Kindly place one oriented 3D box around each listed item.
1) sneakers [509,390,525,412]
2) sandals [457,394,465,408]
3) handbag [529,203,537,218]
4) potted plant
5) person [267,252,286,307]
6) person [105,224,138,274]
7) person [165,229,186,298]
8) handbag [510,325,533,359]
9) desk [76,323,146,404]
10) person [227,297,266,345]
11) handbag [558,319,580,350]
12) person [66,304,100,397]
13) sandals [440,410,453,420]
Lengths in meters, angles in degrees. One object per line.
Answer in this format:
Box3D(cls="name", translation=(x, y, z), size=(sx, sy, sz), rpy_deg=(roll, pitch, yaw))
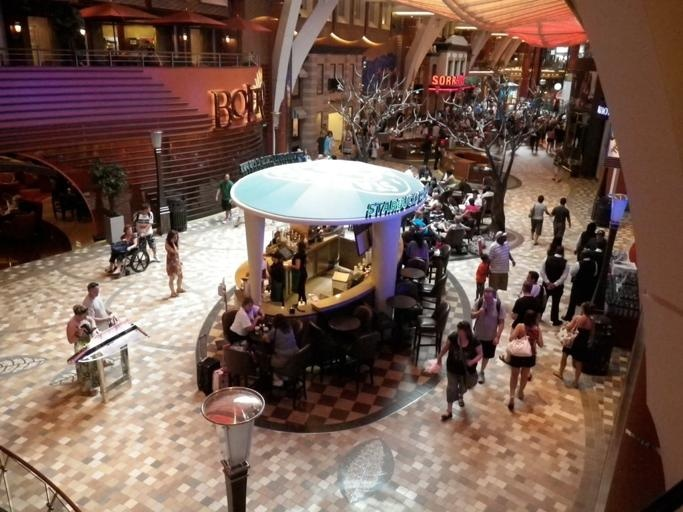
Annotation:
Box3D(cls="sneakers", translation=(3.165, 2.702, 8.180), size=(0.172, 0.210, 0.529), rpy_deg=(12, 46, 23))
Box3D(cls="sandals", translation=(2.147, 2.605, 8.165), size=(0.105, 0.138, 0.348), rpy_deg=(-2, 33, 8))
Box3D(cls="handbag", translation=(6.344, -1.462, 15.037), size=(0.189, 0.532, 0.253), rpy_deg=(5, 23, 5))
Box3D(cls="potted plant", translation=(-7.336, -1.888, 14.403), size=(0.995, 2.523, 2.179), rpy_deg=(-10, 26, -28))
Box3D(cls="person", translation=(-1.315, 0.530, 9.459), size=(0.342, 0.907, 0.519), rpy_deg=(-1, 23, -8))
Box3D(cls="person", translation=(-6.012, -0.166, 12.446), size=(0.881, 1.177, 0.823), rpy_deg=(-4, 24, -16))
Box3D(cls="person", translation=(-4.178, 0.119, 11.351), size=(0.347, 1.735, 0.684), rpy_deg=(-6, 25, -21))
Box3D(cls="handbag", translation=(3.090, 1.502, 7.793), size=(0.246, 0.545, 0.402), rpy_deg=(-8, 12, -31))
Box3D(cls="desk", translation=(-4.056, 1.963, 8.089), size=(0.735, 1.200, 1.291), rpy_deg=(12, 20, 26))
Box3D(cls="person", translation=(-1.747, 1.265, 8.338), size=(0.653, 0.905, 0.549), rpy_deg=(-4, 24, -15))
Box3D(cls="handbag", translation=(4.245, 1.523, 8.554), size=(0.206, 0.589, 0.343), rpy_deg=(-7, 25, -22))
Box3D(cls="person", translation=(-4.522, 1.698, 8.045), size=(0.460, 1.637, 0.701), rpy_deg=(-12, 27, -32))
Box3D(cls="sandals", translation=(1.831, 2.798, 7.829), size=(0.088, 0.108, 0.253), rpy_deg=(-3, -1, 41))
